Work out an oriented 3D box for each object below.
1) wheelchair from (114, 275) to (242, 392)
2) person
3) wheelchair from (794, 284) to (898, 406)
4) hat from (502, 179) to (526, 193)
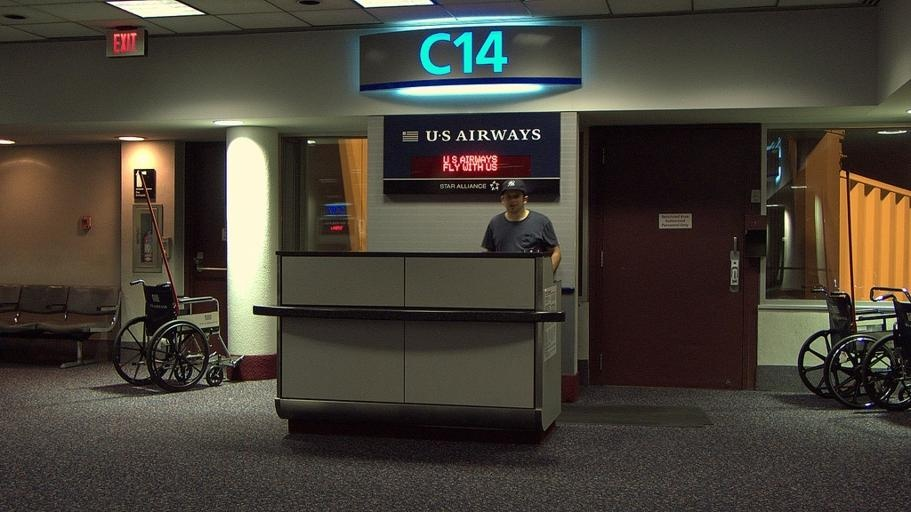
[{"bbox_3d":[-3.938,1.124,9.351,1.022,1.238,1.671,-1,-3,33],"label":"wheelchair"},{"bbox_3d":[0.836,-0.427,8.104,0.655,1.007,0.790,-6,11,-34],"label":"person"},{"bbox_3d":[5.183,1.195,8.354,1.414,1.233,1.094,-1,-2,19],"label":"wheelchair"},{"bbox_3d":[0.715,-0.855,8.059,0.255,0.163,0.221,2,9,15],"label":"hat"}]
